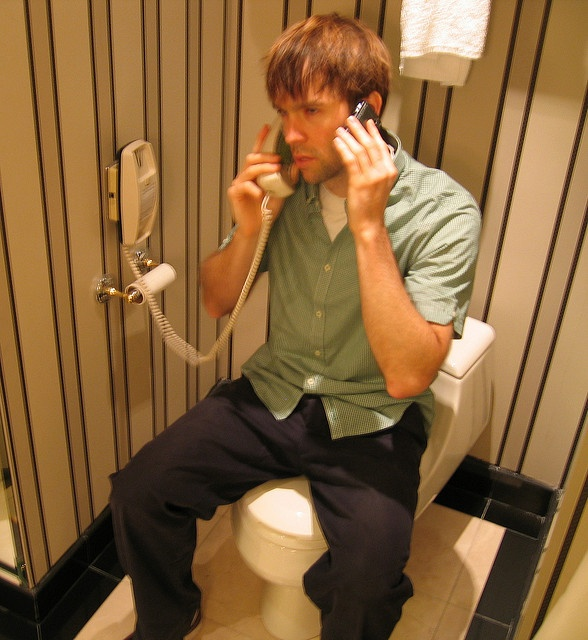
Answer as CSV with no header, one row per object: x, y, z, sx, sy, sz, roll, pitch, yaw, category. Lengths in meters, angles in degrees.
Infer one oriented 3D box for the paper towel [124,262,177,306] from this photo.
-0.347,-0.079,1.236,0.060,0.053,0.140,-24,16,45,paper towel

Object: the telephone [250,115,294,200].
-0.039,-0.367,1.189,0.092,0.232,0.082,4,-13,-19,telephone
